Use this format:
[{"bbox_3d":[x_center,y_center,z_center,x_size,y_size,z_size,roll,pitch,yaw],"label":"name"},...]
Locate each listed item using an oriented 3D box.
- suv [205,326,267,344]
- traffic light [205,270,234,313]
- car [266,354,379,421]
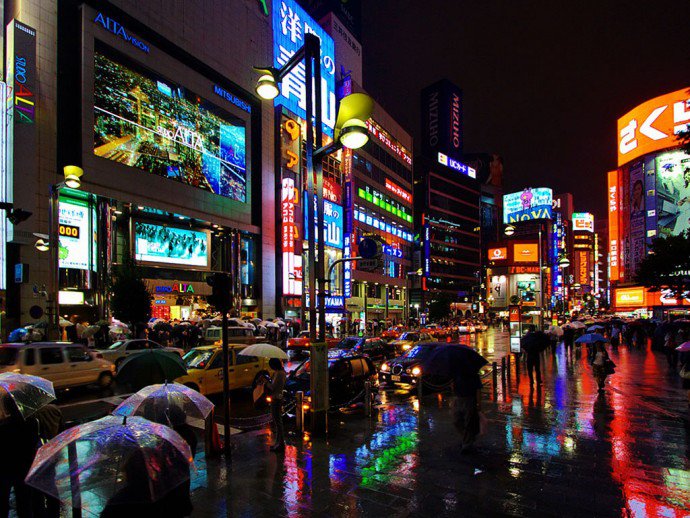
[{"bbox_3d":[-6.587,4.454,35.681,2.313,1.322,1.431,-1,-2,-27],"label":"suv"},{"bbox_3d":[-3.646,0.976,17.612,0.837,1.187,0.695,1,5,5],"label":"traffic light"},{"bbox_3d":[-0.635,4.369,21.588,1.672,1.626,3.158,-8,-12,39],"label":"car"}]
